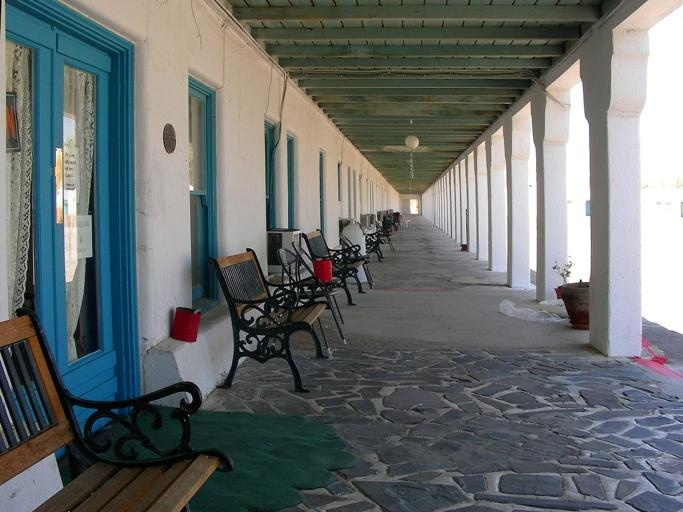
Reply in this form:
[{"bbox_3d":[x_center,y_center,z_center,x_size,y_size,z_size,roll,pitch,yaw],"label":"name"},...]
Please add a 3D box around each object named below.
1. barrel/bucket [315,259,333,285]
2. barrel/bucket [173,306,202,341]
[{"bbox_3d":[-0.227,0.222,6.920,0.284,0.538,0.288,-1,1,0],"label":"barrel/bucket"},{"bbox_3d":[-1.243,0.534,3.933,0.248,0.273,0.248,6,-2,0],"label":"barrel/bucket"}]
